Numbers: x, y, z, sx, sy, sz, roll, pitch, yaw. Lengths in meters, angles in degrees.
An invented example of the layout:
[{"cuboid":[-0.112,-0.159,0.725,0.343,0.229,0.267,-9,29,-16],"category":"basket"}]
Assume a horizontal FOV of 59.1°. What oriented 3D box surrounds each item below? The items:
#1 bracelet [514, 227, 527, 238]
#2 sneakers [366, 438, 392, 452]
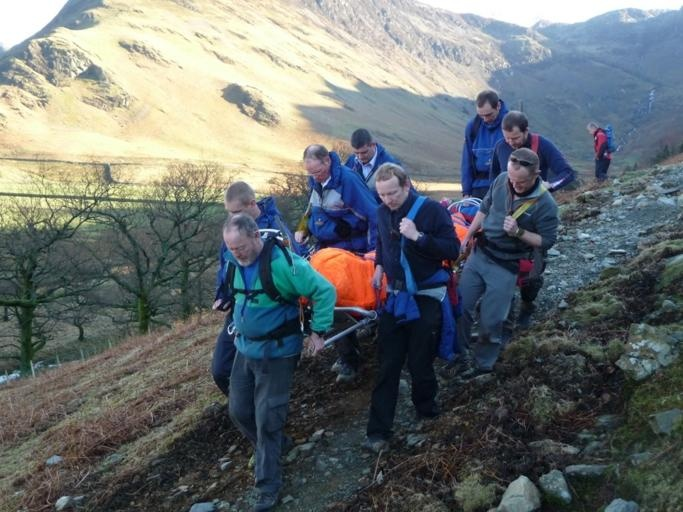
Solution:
[{"cuboid":[2.558,-0.325,8.622,0.101,0.170,0.147,3,7,22],"category":"bracelet"},{"cuboid":[0.505,2.619,8.355,0.169,0.201,0.278,3,3,-35],"category":"sneakers"}]
